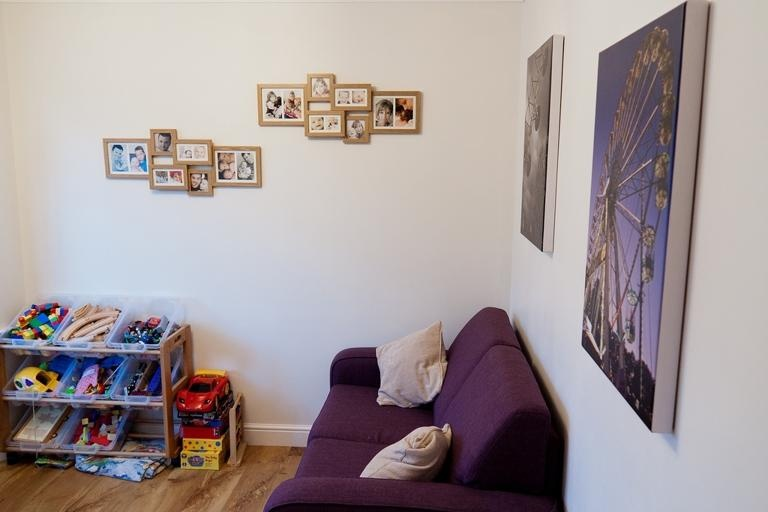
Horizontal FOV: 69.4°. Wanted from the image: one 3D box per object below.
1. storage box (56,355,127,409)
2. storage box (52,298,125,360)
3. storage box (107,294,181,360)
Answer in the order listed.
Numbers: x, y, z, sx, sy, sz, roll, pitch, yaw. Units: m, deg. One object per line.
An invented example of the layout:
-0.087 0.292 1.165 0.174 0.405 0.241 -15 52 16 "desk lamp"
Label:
-1.922 0.800 3.697 0.433 0.236 0.250 0 14 4 "storage box"
-1.934 0.464 3.668 0.302 0.103 0.336 1 32 7 "storage box"
-1.604 0.472 3.723 0.344 0.117 0.354 -5 53 1 "storage box"
